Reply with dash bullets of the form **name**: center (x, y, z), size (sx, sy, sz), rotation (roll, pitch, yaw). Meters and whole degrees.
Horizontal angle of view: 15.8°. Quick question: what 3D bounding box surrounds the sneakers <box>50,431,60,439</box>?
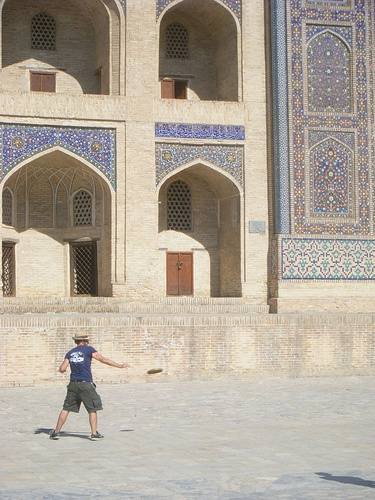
- **sneakers**: center (-1.265, 1.763, 12.923), size (0.086, 0.084, 0.138), rotation (0, 8, -8)

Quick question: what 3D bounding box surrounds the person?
- **person**: center (-1.098, 1.489, 14.818), size (0.981, 1.352, 0.551), rotation (0, 0, 26)

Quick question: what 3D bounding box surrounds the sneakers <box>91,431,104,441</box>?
- **sneakers**: center (-0.854, 1.772, 12.875), size (0.116, 0.073, 0.053), rotation (1, -4, -12)
